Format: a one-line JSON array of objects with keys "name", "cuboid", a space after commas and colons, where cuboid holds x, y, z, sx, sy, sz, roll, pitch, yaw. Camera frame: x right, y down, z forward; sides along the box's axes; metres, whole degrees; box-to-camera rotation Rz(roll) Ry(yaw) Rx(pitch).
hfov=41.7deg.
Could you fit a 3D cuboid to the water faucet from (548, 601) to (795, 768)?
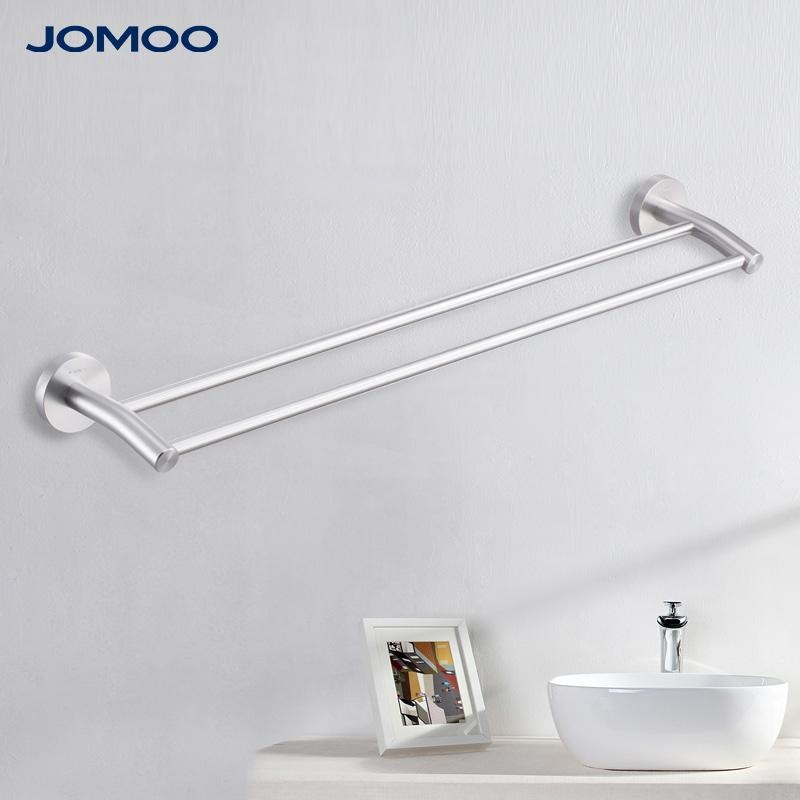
[{"name": "water faucet", "cuboid": [0.316, 0.334, 1.209, 0.196, 0.108, 0.186, -2, -23, 5]}]
